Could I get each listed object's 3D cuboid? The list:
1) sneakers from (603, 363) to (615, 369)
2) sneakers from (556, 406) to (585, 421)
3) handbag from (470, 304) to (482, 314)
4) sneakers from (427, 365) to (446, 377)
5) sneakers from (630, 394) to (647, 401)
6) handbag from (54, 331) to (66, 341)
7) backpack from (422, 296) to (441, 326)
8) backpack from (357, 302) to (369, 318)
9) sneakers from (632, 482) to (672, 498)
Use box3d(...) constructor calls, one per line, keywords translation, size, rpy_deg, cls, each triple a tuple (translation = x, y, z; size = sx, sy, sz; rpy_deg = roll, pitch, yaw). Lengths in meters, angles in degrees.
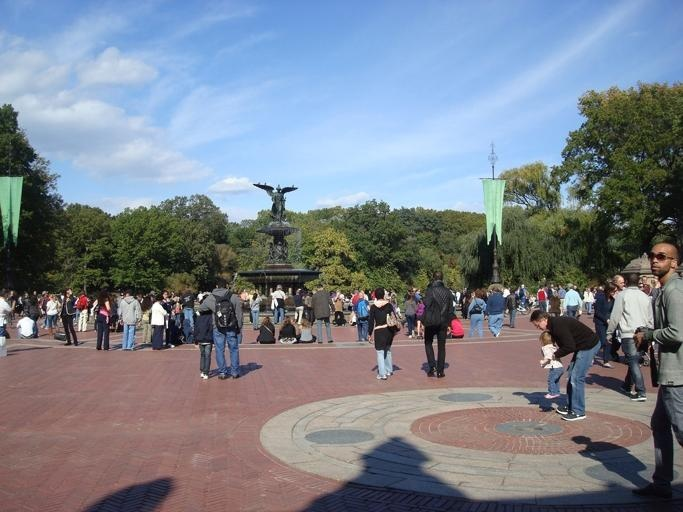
box3d(translation=(6.285, 2.612, 13.414), size=(0.323, 0.152, 0.113), rpy_deg=(-3, -7, 32), cls="sneakers")
box3d(translation=(3.575, 2.456, 8.814), size=(0.282, 0.110, 0.170), rpy_deg=(4, -9, 8), cls="sneakers")
box3d(translation=(4.696, 1.868, 19.864), size=(0.279, 0.378, 0.369), rpy_deg=(-4, -5, -20), cls="handbag")
box3d(translation=(2.047, 2.532, 12.410), size=(0.194, 0.145, 0.331), rpy_deg=(-4, 1, -14), cls="sneakers")
box3d(translation=(5.197, 2.499, 9.936), size=(0.118, 0.130, 0.294), rpy_deg=(1, -2, 5), cls="sneakers")
box3d(translation=(-10.269, 2.955, 20.767), size=(0.356, 0.353, 0.504), rpy_deg=(-11, 3, -24), cls="handbag")
box3d(translation=(1.951, 1.198, 12.262), size=(0.519, 0.749, 0.391), rpy_deg=(3, -10, -8), cls="backpack")
box3d(translation=(0.719, 1.881, 19.626), size=(0.404, 0.574, 0.319), rpy_deg=(-1, -46, 6), cls="backpack")
box3d(translation=(3.307, 2.497, 6.090), size=(0.402, 0.171, 0.164), rpy_deg=(1, -12, 15), cls="sneakers")
